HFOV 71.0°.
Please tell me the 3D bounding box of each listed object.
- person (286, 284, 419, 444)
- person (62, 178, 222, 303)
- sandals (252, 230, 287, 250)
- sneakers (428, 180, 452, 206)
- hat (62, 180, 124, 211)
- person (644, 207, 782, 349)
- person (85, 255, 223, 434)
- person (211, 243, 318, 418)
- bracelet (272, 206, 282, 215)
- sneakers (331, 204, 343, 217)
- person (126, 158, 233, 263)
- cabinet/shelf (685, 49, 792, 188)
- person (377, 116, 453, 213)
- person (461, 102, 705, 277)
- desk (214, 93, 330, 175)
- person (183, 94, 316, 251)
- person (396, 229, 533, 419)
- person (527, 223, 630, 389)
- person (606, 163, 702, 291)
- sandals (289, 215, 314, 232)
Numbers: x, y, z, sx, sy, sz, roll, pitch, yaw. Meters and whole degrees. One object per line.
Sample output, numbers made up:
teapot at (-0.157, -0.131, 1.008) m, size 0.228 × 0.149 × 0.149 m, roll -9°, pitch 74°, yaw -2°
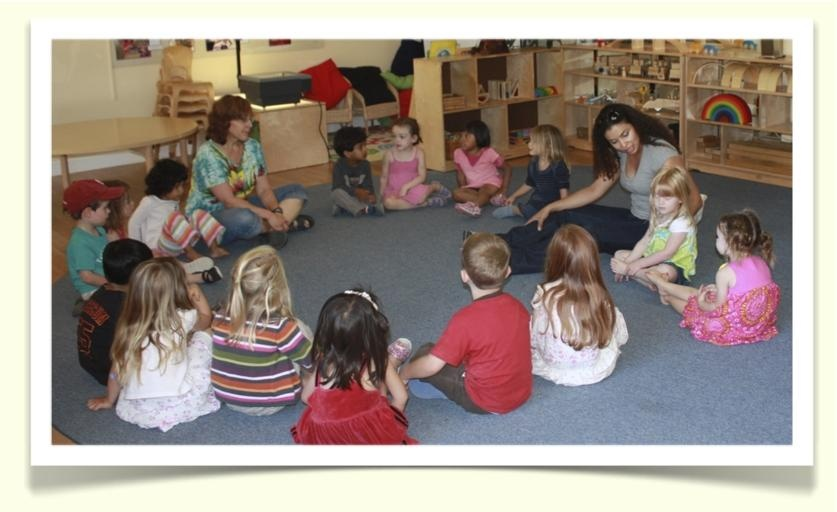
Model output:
person at (-0.269, 0.480, 3.094) m, size 0.856 × 0.752 × 0.724 m, roll 0°, pitch 7°, yaw 3°
person at (-2.023, -0.118, 4.269) m, size 0.546 × 0.793 × 1.109 m, roll 14°, pitch 14°, yaw 42°
sandals at (-1.169, -0.150, 4.821) m, size 0.210 × 0.183 × 0.045 m, roll -12°, pitch 3°, yaw 18°
sneakers at (0.186, -0.616, 5.618) m, size 0.152 × 0.145 × 0.310 m, roll 22°, pitch 30°, yaw -30°
hat at (-2.136, -0.414, 3.904) m, size 0.347 × 0.118 × 0.206 m, roll -12°, pitch 26°, yaw -22°
person at (1.833, 0.099, 3.712) m, size 0.615 × 0.708 × 0.838 m, roll -18°, pitch 17°, yaw -31°
person at (-1.362, 0.438, 3.238) m, size 0.610 × 0.782 × 0.667 m, roll 10°, pitch 13°, yaw 21°
person at (-0.792, 0.409, 3.230) m, size 0.616 × 0.777 × 0.619 m, roll 7°, pitch 8°, yaw 20°
bracelet at (-1.180, -0.389, 4.966) m, size 0.083 × 0.051 × 0.103 m, roll 33°, pitch -14°, yaw -35°
sneakers at (-0.761, -0.426, 5.462) m, size 0.091 × 0.104 × 0.109 m, roll -2°, pitch -5°, yaw -21°
person at (-1.897, -0.415, 4.802) m, size 0.839 × 0.789 × 0.899 m, roll 2°, pitch 12°, yaw 5°
cabinet/shelf at (3.285, -1.415, 6.228) m, size 1.392 × 1.119 × 0.431 m, roll -1°, pitch 20°, yaw -28°
person at (-0.101, -0.861, 5.496) m, size 0.707 × 0.759 × 0.581 m, roll -16°, pitch 36°, yaw -31°
person at (1.193, -0.449, 4.299) m, size 1.791 × 1.046 × 0.869 m, roll -14°, pitch 18°, yaw -2°
desk at (-1.707, -1.579, 7.208) m, size 1.066 × 0.715 × 1.013 m, roll -14°, pitch 23°, yaw -24°
person at (-1.358, -0.676, 4.843) m, size 1.164 × 1.084 × 0.977 m, roll -2°, pitch 26°, yaw -23°
person at (0.228, 0.348, 3.251) m, size 0.806 × 0.913 × 0.796 m, roll -6°, pitch 17°, yaw -15°
person at (0.864, 0.274, 3.188) m, size 0.516 × 0.881 × 0.292 m, roll -2°, pitch 18°, yaw 8°
person at (1.559, -0.176, 4.003) m, size 0.626 × 0.761 × 0.558 m, roll 0°, pitch 21°, yaw 29°
sandals at (-1.002, -0.287, 5.085) m, size 0.289 × 0.084 × 0.112 m, roll -9°, pitch 22°, yaw -15°
